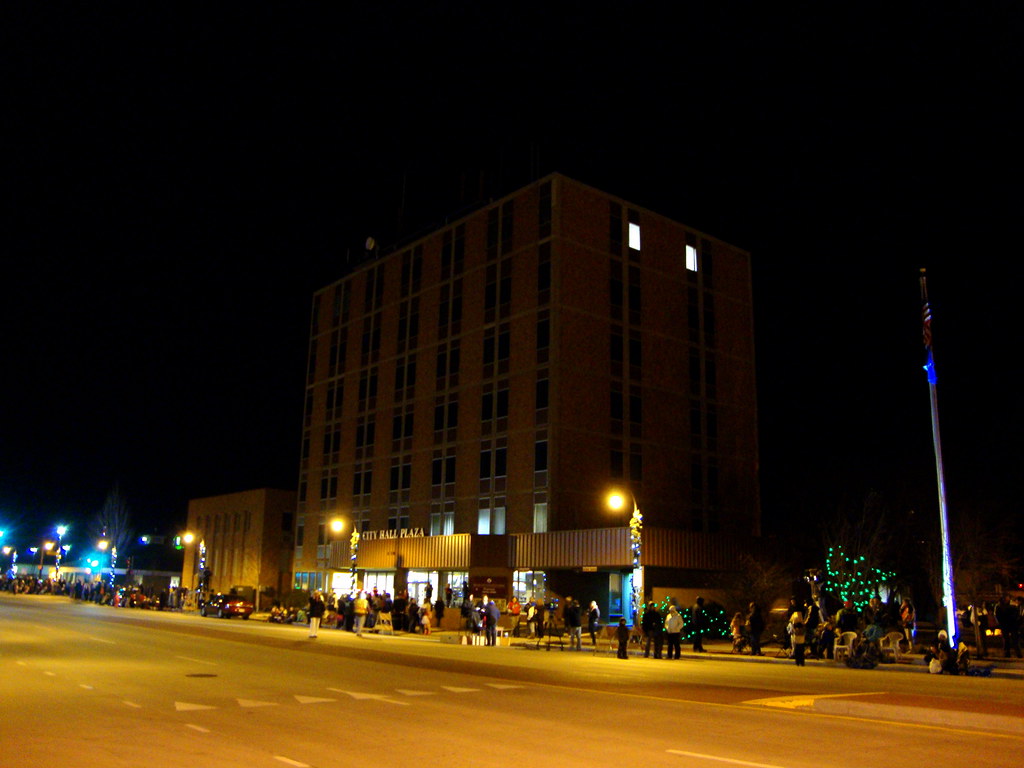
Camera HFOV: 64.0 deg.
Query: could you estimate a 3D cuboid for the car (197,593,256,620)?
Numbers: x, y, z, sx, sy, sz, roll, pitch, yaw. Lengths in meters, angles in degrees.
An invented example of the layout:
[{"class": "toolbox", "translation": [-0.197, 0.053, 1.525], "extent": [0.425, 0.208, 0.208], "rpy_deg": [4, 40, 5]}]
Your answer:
[{"class": "car", "translation": [-22.888, 17.802, 65.364], "extent": [2.074, 1.664, 4.741], "rpy_deg": [14, -16, -41]}]
